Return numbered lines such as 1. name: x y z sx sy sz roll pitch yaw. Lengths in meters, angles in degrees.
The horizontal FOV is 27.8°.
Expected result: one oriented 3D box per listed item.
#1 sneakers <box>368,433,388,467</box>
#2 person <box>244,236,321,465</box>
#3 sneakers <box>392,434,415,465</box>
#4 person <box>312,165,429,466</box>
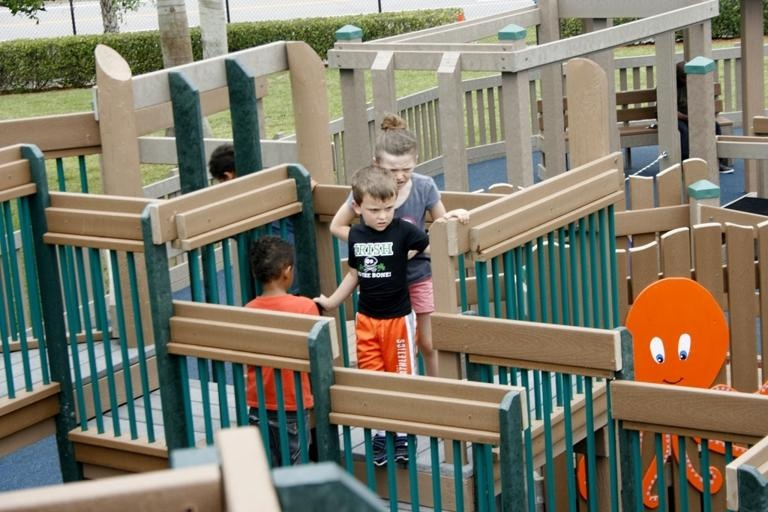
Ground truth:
1. sneakers: -0.058 1.414 11.566 0.162 0.173 0.484 7 7 -6
2. person: -0.752 0.721 11.383 0.570 1.650 0.756 -4 14 -5
3. sneakers: 0.121 1.403 11.409 0.092 0.165 0.250 -2 13 4
4. person: -0.073 0.363 11.560 0.721 2.062 0.792 2 15 20
